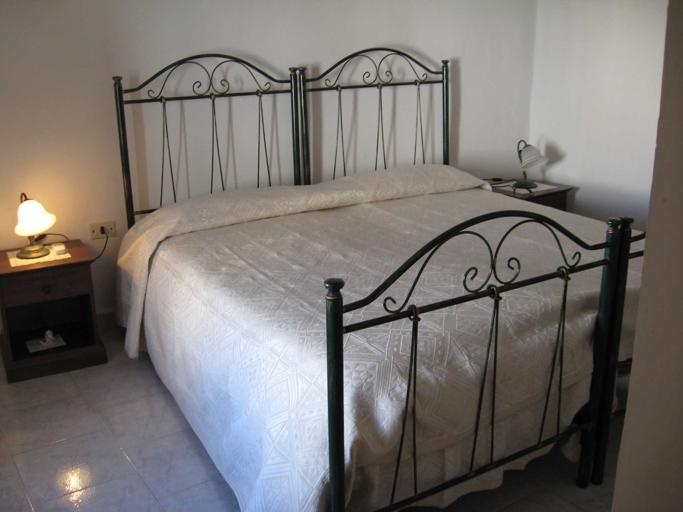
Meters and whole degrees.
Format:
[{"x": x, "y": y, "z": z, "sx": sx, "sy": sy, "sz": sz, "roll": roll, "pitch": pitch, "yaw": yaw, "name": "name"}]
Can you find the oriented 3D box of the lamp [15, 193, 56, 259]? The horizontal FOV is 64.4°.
[{"x": -1.562, "y": -0.155, "z": 2.745, "sx": 0.289, "sy": 0.315, "sz": 0.190, "roll": 12, "pitch": 19, "yaw": 42, "name": "lamp"}]
